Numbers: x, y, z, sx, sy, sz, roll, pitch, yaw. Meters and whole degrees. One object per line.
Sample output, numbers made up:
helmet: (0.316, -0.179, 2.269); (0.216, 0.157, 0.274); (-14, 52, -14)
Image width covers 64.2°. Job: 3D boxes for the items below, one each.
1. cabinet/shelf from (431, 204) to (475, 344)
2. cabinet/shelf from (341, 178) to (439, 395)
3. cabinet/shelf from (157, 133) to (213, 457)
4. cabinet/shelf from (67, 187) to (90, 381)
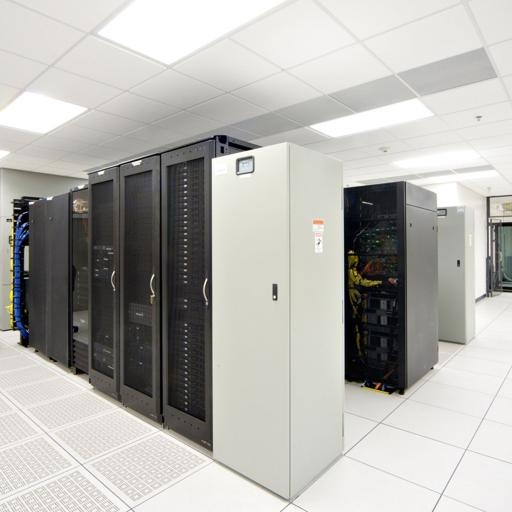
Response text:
cabinet/shelf: (2.668, 0.280, 6.120); (0.459, 1.941, 0.918); (0, -5, 3)
cabinet/shelf: (1.423, 0.265, 4.472); (0.824, 1.976, 0.894); (0, -1, -39)
cabinet/shelf: (-0.517, 0.256, 3.023); (0.173, 2.152, 0.639); (-2, 3, -38)
cabinet/shelf: (-2.079, 0.142, 4.778); (0.127, 2.230, 0.404); (3, -33, -25)
